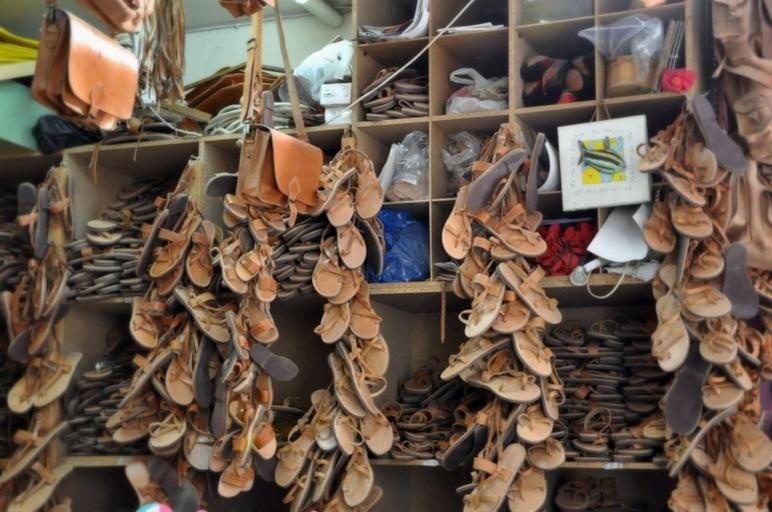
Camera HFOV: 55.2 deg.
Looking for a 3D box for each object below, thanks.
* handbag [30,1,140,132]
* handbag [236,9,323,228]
[{"bbox_3d":[-1.522,-0.928,3.753,0.201,0.544,0.492,4,2,36],"label":"handbag"},{"bbox_3d":[-0.619,-0.893,4.247,0.260,1.433,0.573,-9,-11,29],"label":"handbag"}]
